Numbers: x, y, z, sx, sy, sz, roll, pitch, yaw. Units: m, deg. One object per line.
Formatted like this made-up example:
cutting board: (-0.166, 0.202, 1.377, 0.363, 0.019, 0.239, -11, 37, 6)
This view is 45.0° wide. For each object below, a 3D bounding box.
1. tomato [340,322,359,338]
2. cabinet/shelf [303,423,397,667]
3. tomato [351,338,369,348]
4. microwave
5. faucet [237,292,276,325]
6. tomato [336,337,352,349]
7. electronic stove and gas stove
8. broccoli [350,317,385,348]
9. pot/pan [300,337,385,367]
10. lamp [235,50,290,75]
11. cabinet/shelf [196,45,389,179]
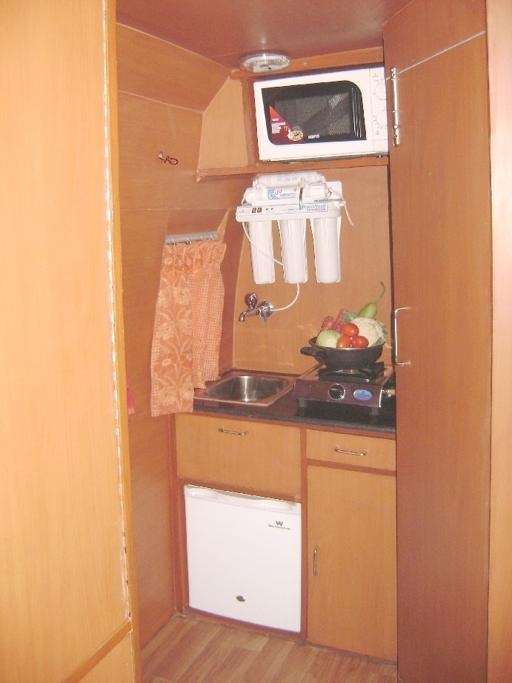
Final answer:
tomato: (0.347, -0.039, 2.314, 0.048, 0.048, 0.061, -26, 36, -10)
cabinet/shelf: (0.400, 0.741, 2.319, 0.449, 0.735, 0.441, -2, 11, -3)
tomato: (0.373, 0.007, 2.257, 0.050, 0.037, 0.039, 6, -20, 12)
microwave: (0.250, -0.813, 2.363, 0.509, 0.306, 0.272, -4, 1, 3)
faucet: (-0.006, -0.138, 2.788, 0.168, 0.093, 0.100, -2, 5, -42)
tomato: (0.328, 0.007, 2.263, 0.044, 0.048, 0.025, 17, -29, -2)
electronic stove and gas stove: (0.329, 0.175, 2.281, 0.351, 0.135, 0.310, 0, 9, 12)
broccoli: (0.422, -0.039, 2.364, 0.112, 0.063, 0.105, 35, -18, 21)
pot/pan: (0.320, 0.056, 2.323, 0.292, 0.102, 0.223, 1, 9, 17)
lamp: (0.031, -0.969, 2.153, 0.175, 0.048, 0.112, -2, 8, -1)
cabinet/shelf: (0.248, -0.898, 2.358, 0.524, 0.318, 0.299, 2, 39, 20)
